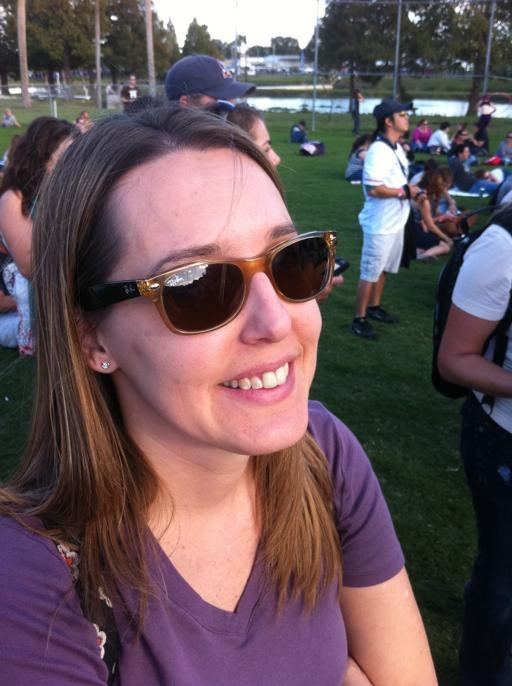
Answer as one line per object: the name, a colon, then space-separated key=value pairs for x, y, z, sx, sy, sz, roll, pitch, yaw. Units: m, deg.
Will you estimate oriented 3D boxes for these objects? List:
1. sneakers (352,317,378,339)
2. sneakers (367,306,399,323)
sneakers: x=1.079 y=-0.153 z=5.733 sx=0.132 sy=0.121 sz=0.286 roll=-7 pitch=15 yaw=-15
sneakers: x=1.338 y=-0.322 z=6.191 sx=0.318 sy=0.137 sz=0.152 roll=17 pitch=30 yaw=29
